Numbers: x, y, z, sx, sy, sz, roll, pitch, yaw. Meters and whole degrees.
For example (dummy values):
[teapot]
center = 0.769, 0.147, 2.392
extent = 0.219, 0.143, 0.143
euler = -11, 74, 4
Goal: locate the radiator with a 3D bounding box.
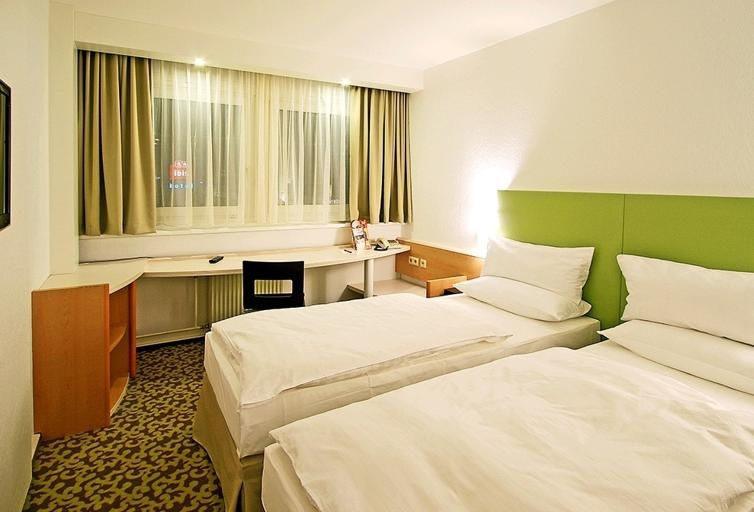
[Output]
[radiator]
center = -1.133, 0.377, 4.192
extent = 0.526, 0.538, 0.040
euler = 1, 3, -26
